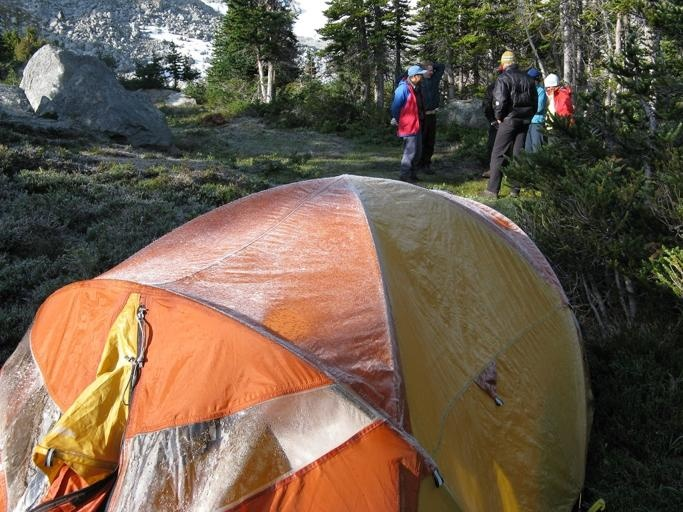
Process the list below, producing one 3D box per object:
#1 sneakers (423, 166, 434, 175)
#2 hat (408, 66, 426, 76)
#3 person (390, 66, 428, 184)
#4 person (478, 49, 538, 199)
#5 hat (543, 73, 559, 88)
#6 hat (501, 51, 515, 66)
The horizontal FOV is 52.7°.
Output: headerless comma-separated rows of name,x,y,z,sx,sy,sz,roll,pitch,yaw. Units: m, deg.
sneakers,1.799,-1.850,14.374,0.122,0.208,0.421,-6,14,-10
hat,1.367,-3.408,12.554,0.248,0.164,0.201,-21,27,-22
person,1.213,-2.494,12.789,0.541,2.132,0.632,5,15,11
person,2.728,-2.200,11.140,0.593,2.302,0.561,-3,17,-5
hat,3.386,-2.901,11.104,0.158,0.152,0.244,-20,28,29
hat,2.650,-3.204,10.960,0.187,0.240,0.235,7,36,7
